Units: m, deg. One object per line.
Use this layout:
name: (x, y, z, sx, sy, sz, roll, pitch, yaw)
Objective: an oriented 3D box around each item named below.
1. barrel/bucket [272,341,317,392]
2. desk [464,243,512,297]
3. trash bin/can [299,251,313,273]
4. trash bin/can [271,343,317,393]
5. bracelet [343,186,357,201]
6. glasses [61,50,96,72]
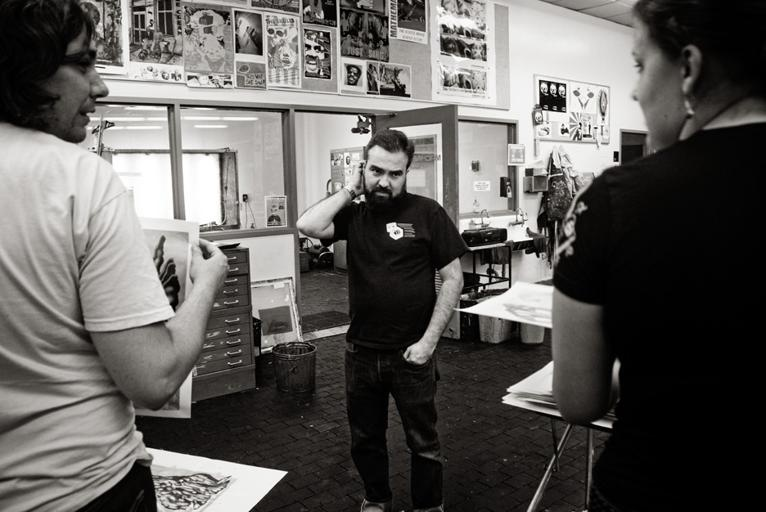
barrel/bucket: (-0.717, 0.909, 4.651, 0.349, 0.302, 0.357, -1, 5, 0)
desk: (1.317, 0.156, 7.118, 0.683, 0.620, 0.295, 1, 14, 21)
trash bin/can: (-1.432, 0.123, 10.565, 0.223, 0.392, 0.411, -1, 1, -8)
trash bin/can: (-0.719, 0.899, 4.661, 0.365, 0.337, 0.360, -6, 11, -32)
bracelet: (-0.159, -0.321, 2.929, 0.080, 0.084, 0.056, 8, 15, 35)
glasses: (-0.588, -0.379, 1.096, 0.038, 0.019, 0.047, -4, -3, -2)
